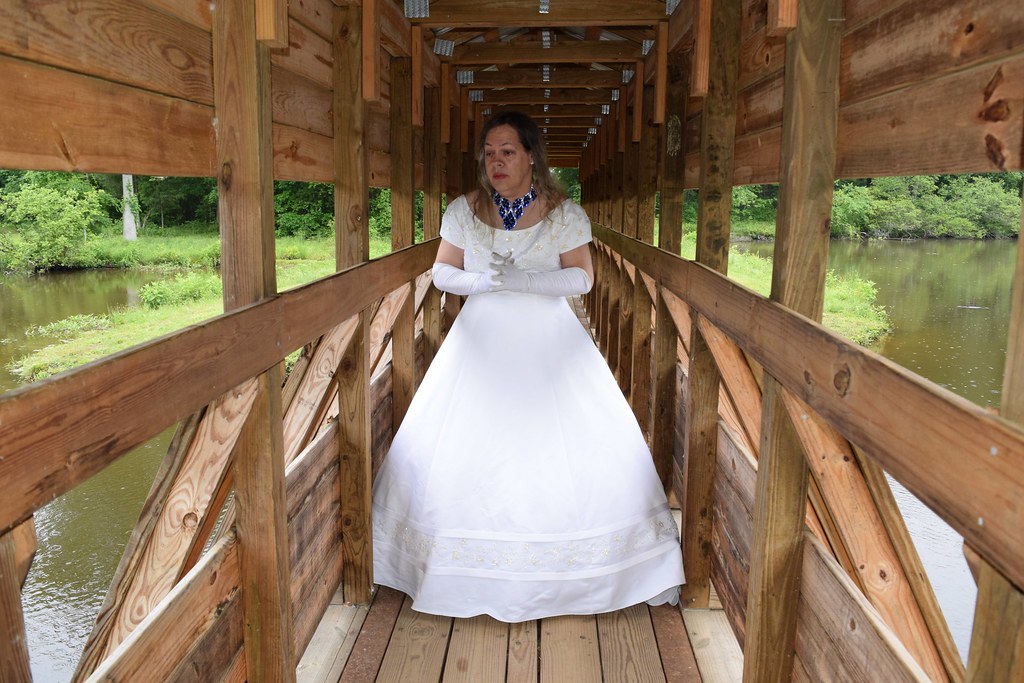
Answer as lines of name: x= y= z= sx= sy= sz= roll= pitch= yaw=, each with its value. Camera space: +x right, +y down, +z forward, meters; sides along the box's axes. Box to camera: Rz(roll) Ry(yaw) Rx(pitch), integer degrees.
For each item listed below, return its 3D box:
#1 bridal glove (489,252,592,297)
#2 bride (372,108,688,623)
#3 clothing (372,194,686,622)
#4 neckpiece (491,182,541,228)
bridal glove: x=0.160 y=-0.323 z=3.112 sx=0.385 sy=0.256 sz=0.125 roll=3 pitch=-9 yaw=-10
bride: x=0.018 y=0.055 z=3.354 sx=1.659 sy=2.432 sz=1.408 roll=-2 pitch=-2 yaw=24
clothing: x=-0.089 y=0.258 z=3.768 sx=1.932 sy=2.743 sz=1.606 roll=-1 pitch=-14 yaw=7
neckpiece: x=0.007 y=-0.728 z=3.300 sx=0.238 sy=0.247 sz=0.228 roll=-16 pitch=7 yaw=18
